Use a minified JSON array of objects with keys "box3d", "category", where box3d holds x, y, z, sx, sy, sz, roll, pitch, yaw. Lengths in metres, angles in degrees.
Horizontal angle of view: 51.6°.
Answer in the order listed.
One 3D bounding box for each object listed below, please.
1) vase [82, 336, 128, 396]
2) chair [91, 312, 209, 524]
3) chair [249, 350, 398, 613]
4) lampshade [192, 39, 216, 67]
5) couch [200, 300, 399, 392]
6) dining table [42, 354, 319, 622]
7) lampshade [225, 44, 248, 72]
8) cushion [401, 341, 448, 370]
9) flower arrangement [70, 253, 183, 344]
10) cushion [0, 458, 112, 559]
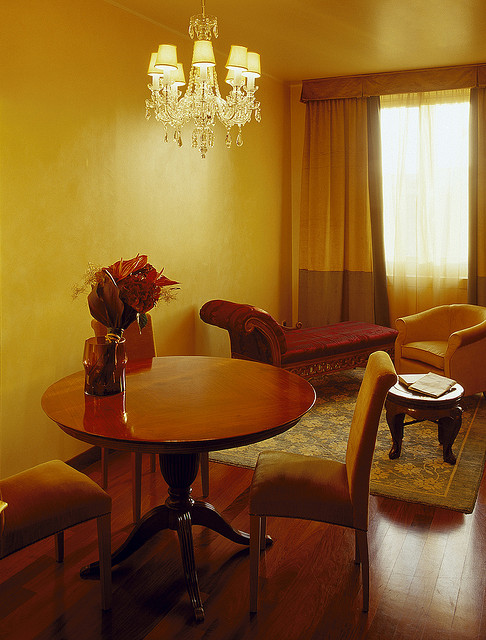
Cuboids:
[{"box3d":[-0.473,0.148,1.718,0.154,0.173,0.144,5,7,3],"category":"vase"},{"box3d":[-0.386,0.360,2.588,0.493,0.607,0.992,5,-29,7],"category":"chair"},{"box3d":[0.243,0.498,1.676,0.505,0.719,0.454,4,10,29],"category":"chair"},{"box3d":[-0.184,-1.261,2.433,0.124,0.132,0.131,0,8,4],"category":"lampshade"},{"box3d":[0.477,0.222,4.162,1.499,0.808,0.765,-10,15,-32],"category":"couch"},{"box3d":[-0.164,0.426,1.756,0.825,0.600,0.862,7,17,27],"category":"dining table"},{"box3d":[-0.034,-1.328,2.541,0.106,0.141,0.141,0,6,0],"category":"lampshade"},{"box3d":[1.477,0.268,3.950,0.291,0.149,0.512,-1,6,-10],"category":"cushion"},{"box3d":[-0.375,-0.071,1.673,0.272,0.284,0.214,-1,6,-12],"category":"flower arrangement"},{"box3d":[-0.546,0.521,1.463,0.260,0.070,0.278,-9,19,-33],"category":"cushion"}]
